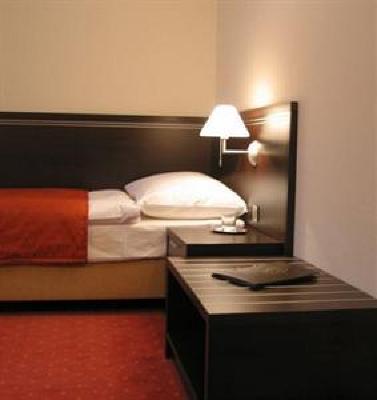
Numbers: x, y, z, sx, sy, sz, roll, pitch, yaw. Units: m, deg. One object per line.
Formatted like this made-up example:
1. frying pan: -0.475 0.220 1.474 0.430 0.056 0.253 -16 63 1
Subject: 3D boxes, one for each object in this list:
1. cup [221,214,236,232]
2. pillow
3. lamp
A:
1. cup: 0.188 0.109 1.800 0.070 0.092 0.067 1 5 0
2. pillow: -0.027 -0.034 2.346 0.615 0.272 0.702 1 4 -9
3. lamp: 0.220 -0.299 2.030 0.352 0.358 0.277 1 1 -29
